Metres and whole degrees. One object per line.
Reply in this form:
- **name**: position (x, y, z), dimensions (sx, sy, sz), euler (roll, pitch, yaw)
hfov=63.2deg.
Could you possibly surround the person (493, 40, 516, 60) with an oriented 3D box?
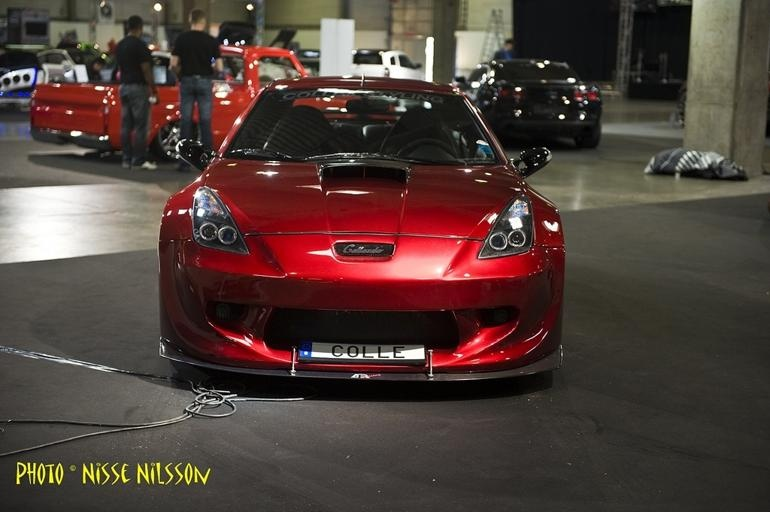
- **person**: position (4.209, -7.378, 22.164), dimensions (0.580, 0.873, 2.013), euler (4, 12, 8)

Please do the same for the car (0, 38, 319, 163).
- **car**: position (-3.677, -2.798, 11.710), dimensions (4.916, 1.670, 2.629), euler (-8, 14, -33)

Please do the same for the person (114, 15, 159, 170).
- **person**: position (-4.347, -2.878, 10.950), dimensions (0.608, 2.637, 0.871), euler (-4, 13, -24)

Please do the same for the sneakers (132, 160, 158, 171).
- **sneakers**: position (-4.215, -1.623, 11.025), dimensions (0.472, 0.198, 0.170), euler (-3, 55, -9)

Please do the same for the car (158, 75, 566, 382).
- **car**: position (-0.095, -0.434, 4.471), dimensions (1.725, 1.068, 2.822), euler (1, 10, 1)

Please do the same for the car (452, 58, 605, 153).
- **car**: position (3.425, -3.359, 13.601), dimensions (1.941, 1.315, 3.995), euler (-1, 15, -3)
